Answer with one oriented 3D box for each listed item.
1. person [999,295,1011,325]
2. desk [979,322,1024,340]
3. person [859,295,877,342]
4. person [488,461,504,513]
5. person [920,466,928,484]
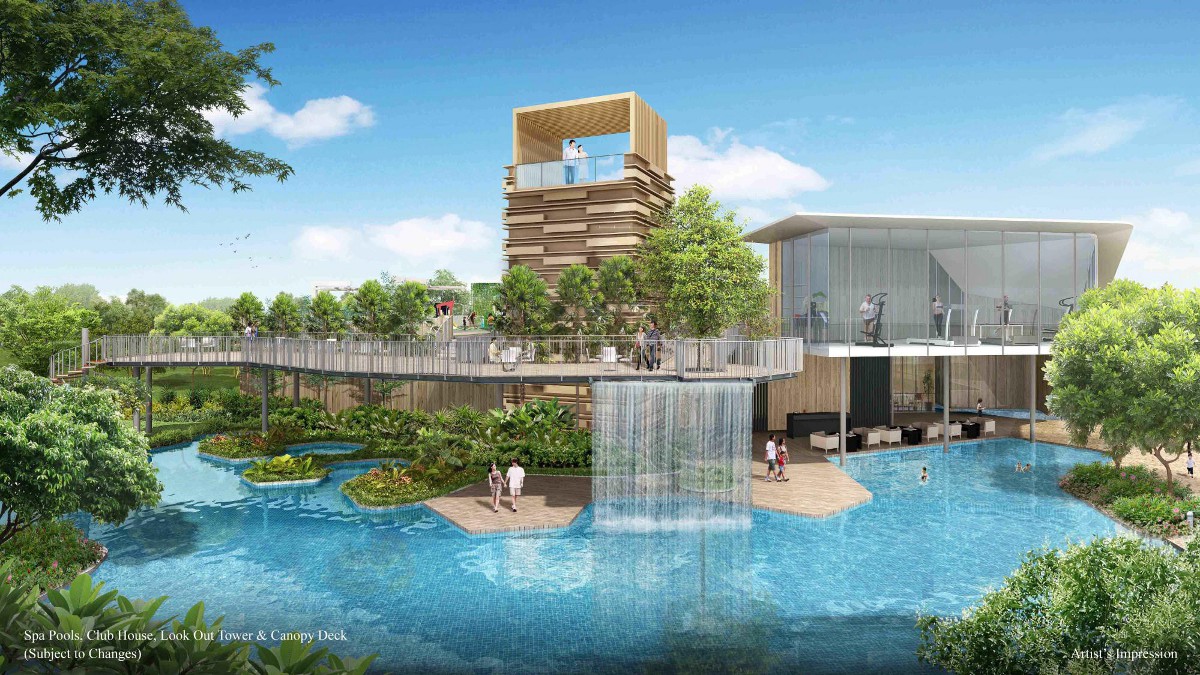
[{"bbox_3d":[23.302,-1.565,45.399,1.155,1.574,0.368,0,-2,-34],"label":"person"},{"bbox_3d":[22.957,-0.342,45.167,2.845,1.012,0.637,-1,-1,-20],"label":"desk"},{"bbox_3d":[14.928,-1.106,43.821,0.919,2.658,1.402,-1,-1,14],"label":"person"},{"bbox_3d":[-4.936,7.054,37.421,0.542,1.998,1.444,-1,-1,-6],"label":"person"},{"bbox_3d":[16.675,7.065,40.687,0.561,0.778,0.626,-3,-15,17],"label":"person"}]
